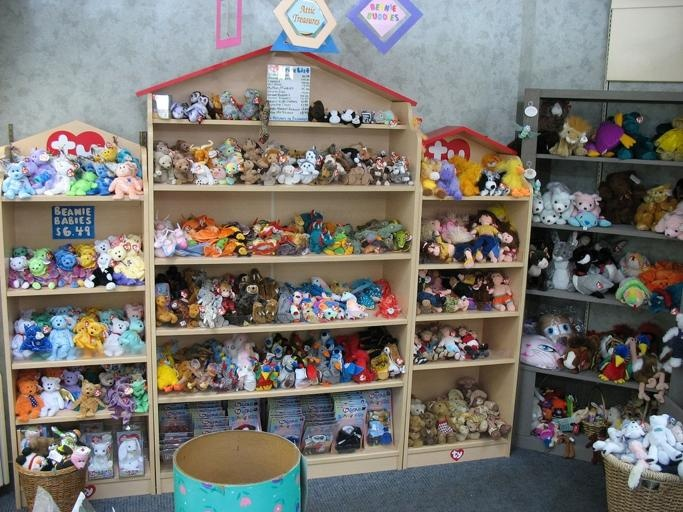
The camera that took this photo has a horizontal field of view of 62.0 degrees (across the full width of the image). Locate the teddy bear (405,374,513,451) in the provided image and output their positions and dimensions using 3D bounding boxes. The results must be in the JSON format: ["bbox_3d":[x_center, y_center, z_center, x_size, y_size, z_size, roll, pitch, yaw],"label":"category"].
[{"bbox_3d":[0.827,1.127,4.084,0.536,0.247,0.366,-2,16,-13],"label":"teddy bear"}]

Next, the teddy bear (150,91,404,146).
[{"bbox_3d":[-0.413,-0.875,3.523,1.424,0.308,0.275,-2,6,-12],"label":"teddy bear"}]

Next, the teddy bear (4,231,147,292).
[{"bbox_3d":[-1.543,0.036,3.348,0.754,0.290,0.187,-2,6,-8],"label":"teddy bear"}]

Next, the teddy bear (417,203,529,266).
[{"bbox_3d":[0.847,-0.137,3.870,0.704,0.378,0.288,-3,6,-23],"label":"teddy bear"}]
